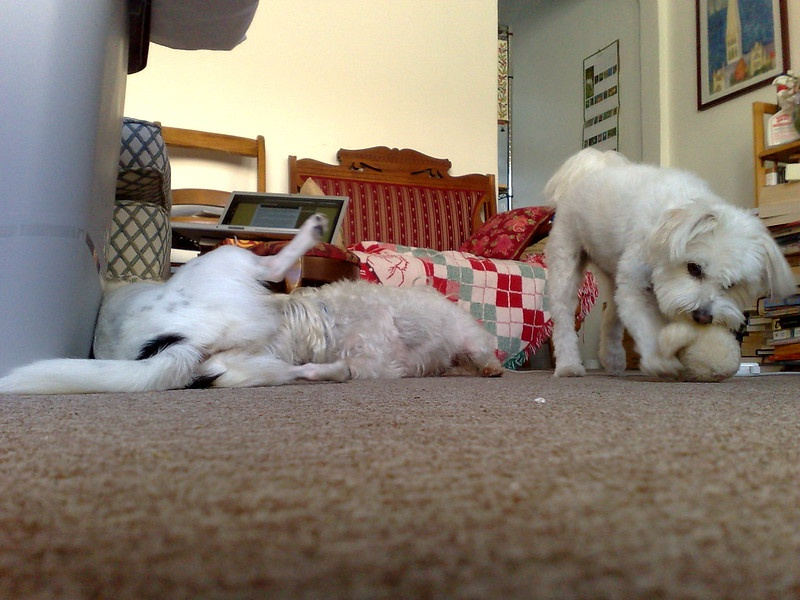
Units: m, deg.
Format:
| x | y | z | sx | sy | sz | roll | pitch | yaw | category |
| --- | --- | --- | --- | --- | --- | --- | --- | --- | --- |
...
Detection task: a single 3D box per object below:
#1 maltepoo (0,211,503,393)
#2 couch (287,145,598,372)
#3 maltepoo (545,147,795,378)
| x | y | z | sx | sy | sz | roll | pitch | yaw | category |
| --- | --- | --- | --- | --- | --- | --- | --- | --- | --- |
| -0.161 | 0.030 | 1.031 | 0.466 | 0.164 | 0.302 | -3 | -6 | -18 | maltepoo |
| 0.006 | -0.265 | 3.298 | 0.954 | 0.731 | 0.951 | 0 | 12 | -25 | couch |
| 0.552 | -0.058 | 1.492 | 0.431 | 0.591 | 0.660 | -3 | 12 | -9 | maltepoo |
